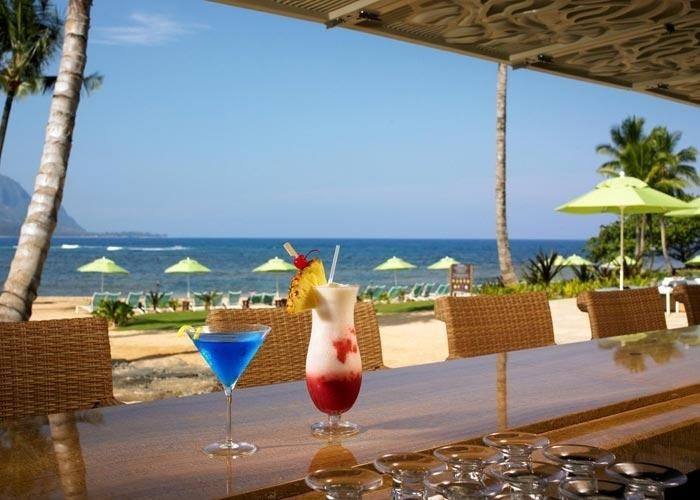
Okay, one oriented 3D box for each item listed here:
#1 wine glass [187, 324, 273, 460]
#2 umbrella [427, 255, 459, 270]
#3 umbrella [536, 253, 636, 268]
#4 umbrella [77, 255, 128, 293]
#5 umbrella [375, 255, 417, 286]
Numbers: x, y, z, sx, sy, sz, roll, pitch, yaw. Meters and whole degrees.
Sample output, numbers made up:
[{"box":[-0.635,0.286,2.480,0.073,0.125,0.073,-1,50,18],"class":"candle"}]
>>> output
[{"box":[-0.310,0.346,1.433,0.325,0.306,0.287,0,-7,-7],"class":"wine glass"},{"box":[7.460,0.913,44.733,3.074,1.217,2.680,-4,0,4],"class":"umbrella"},{"box":[11.809,0.472,26.523,2.283,0.713,2.036,0,-3,0],"class":"umbrella"},{"box":[-21.137,2.135,45.935,3.794,2.637,3.402,0,-5,3],"class":"umbrella"},{"box":[4.377,2.096,52.041,3.885,2.620,3.632,1,1,15],"class":"umbrella"}]
